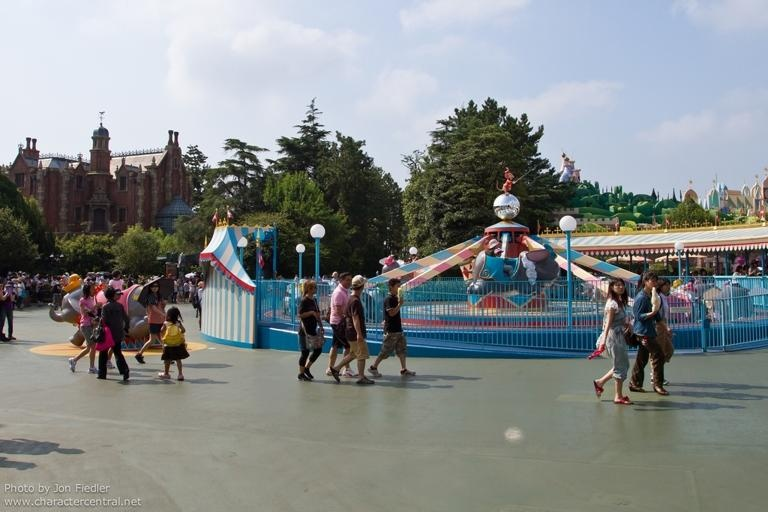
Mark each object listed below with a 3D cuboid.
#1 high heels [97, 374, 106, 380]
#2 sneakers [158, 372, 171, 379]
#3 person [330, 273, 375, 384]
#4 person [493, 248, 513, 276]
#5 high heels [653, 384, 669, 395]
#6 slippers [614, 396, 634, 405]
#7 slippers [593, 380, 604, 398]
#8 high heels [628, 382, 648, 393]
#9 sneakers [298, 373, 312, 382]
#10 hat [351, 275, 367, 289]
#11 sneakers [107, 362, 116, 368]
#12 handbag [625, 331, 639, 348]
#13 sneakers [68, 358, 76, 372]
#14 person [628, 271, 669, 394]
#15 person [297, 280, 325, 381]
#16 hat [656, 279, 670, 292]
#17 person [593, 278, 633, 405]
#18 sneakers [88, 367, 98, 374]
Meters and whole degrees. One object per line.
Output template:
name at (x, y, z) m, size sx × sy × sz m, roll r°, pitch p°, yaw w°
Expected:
high heels at (-6.232, 2.697, 18.821) m, size 0.258 × 0.178 × 0.089 m, roll -4°, pitch -5°, yaw 13°
sneakers at (-4.880, 2.679, 18.966) m, size 0.334 × 0.136 × 0.156 m, roll 5°, pitch -7°, yaw 37°
person at (-0.703, 1.600, 18.468) m, size 0.804 × 2.333 × 0.953 m, roll -1°, pitch -1°, yaw -18°
person at (3.652, 0.204, 26.049) m, size 0.340 × 0.618 × 1.253 m, roll -1°, pitch -1°, yaw -4°
high heels at (5.571, 2.703, 17.047) m, size 0.125 × 0.162 × 0.373 m, roll -6°, pitch -21°, yaw -14°
slippers at (4.630, 2.800, 16.498) m, size 0.364 × 0.124 × 0.363 m, roll -2°, pitch -1°, yaw 3°
slippers at (4.211, 2.607, 16.697) m, size 0.153 × 0.437 × 0.160 m, roll -6°, pitch 4°, yaw 15°
high heels at (5.171, 2.715, 17.331) m, size 0.353 × 0.143 × 0.129 m, roll 2°, pitch -3°, yaw -4°
sneakers at (-1.719, 2.670, 18.613) m, size 0.336 × 0.137 × 0.120 m, roll 0°, pitch 4°, yaw 15°
hat at (-0.512, 0.553, 18.425) m, size 0.221 × 0.161 × 0.291 m, roll 13°, pitch 36°, yaw 33°
sneakers at (-6.439, 2.595, 20.123) m, size 0.117 × 0.148 × 0.340 m, roll 4°, pitch -11°, yaw -34°
handbag at (4.982, 1.683, 17.035) m, size 0.323 × 0.368 × 0.345 m, roll -2°, pitch -9°, yaw -2°
sneakers at (-7.172, 2.521, 19.607) m, size 0.134 × 0.403 × 0.185 m, roll 7°, pitch 12°, yaw 24°
person at (5.273, 1.573, 17.073) m, size 0.723 × 2.031 × 0.485 m, roll -2°, pitch -1°, yaw 17°
person at (-1.595, 1.623, 18.503) m, size 0.561 × 2.191 × 0.891 m, roll -1°, pitch -1°, yaw -6°
hat at (6.088, 0.657, 18.627) m, size 0.246 × 0.297 × 0.293 m, roll 3°, pitch -21°, yaw -24°
person at (4.542, 1.667, 16.672) m, size 0.621 × 1.969 × 0.744 m, roll -2°, pitch -1°, yaw 43°
sneakers at (-6.632, 2.637, 19.431) m, size 0.226 × 0.104 × 0.092 m, roll 3°, pitch -4°, yaw -28°
